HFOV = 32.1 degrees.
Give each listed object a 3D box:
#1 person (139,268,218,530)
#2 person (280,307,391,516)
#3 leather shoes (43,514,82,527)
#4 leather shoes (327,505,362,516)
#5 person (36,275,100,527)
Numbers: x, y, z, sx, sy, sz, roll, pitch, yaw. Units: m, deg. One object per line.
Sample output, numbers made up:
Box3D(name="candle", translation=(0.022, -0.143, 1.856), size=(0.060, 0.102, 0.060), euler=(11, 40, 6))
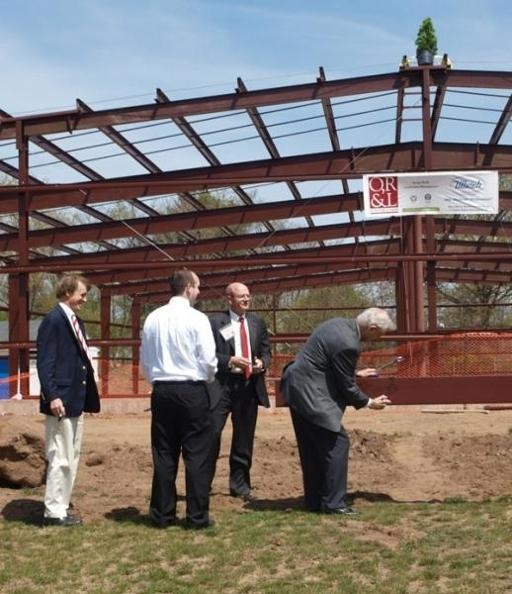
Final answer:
Box3D(name="person", translation=(-0.636, 0.814, 7.244), size=(0.614, 2.076, 0.322), euler=(0, 0, -3))
Box3D(name="person", translation=(0.669, 0.955, 7.595), size=(0.935, 1.726, 0.387), euler=(0, 0, 6))
Box3D(name="leather shoes", translation=(-1.572, 1.810, 7.258), size=(0.331, 0.111, 0.100), euler=(-3, -5, 2))
Box3D(name="leather shoes", translation=(0.745, 1.790, 7.505), size=(0.266, 0.093, 0.089), euler=(-8, 0, 8))
Box3D(name="person", translation=(-1.567, 0.827, 7.335), size=(0.282, 2.014, 0.529), euler=(0, 0, 35))
